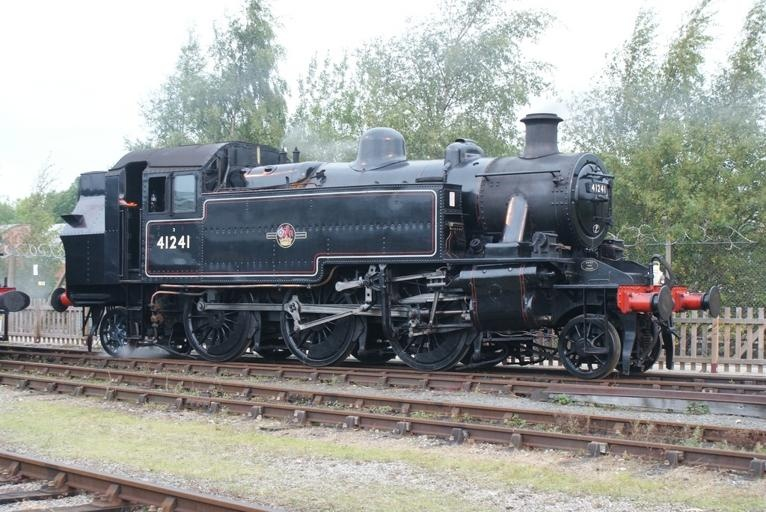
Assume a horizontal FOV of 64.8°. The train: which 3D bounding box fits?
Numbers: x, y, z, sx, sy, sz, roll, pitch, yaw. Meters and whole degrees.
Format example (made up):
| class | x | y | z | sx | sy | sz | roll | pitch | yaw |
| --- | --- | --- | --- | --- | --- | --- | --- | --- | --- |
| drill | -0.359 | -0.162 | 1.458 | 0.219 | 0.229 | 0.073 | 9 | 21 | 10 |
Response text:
| class | x | y | z | sx | sy | sz | roll | pitch | yaw |
| --- | --- | --- | --- | --- | --- | --- | --- | --- | --- |
| train | -1.764 | 0.006 | 16.266 | 17.733 | 5.576 | 6.179 | -1 | 1 | 26 |
